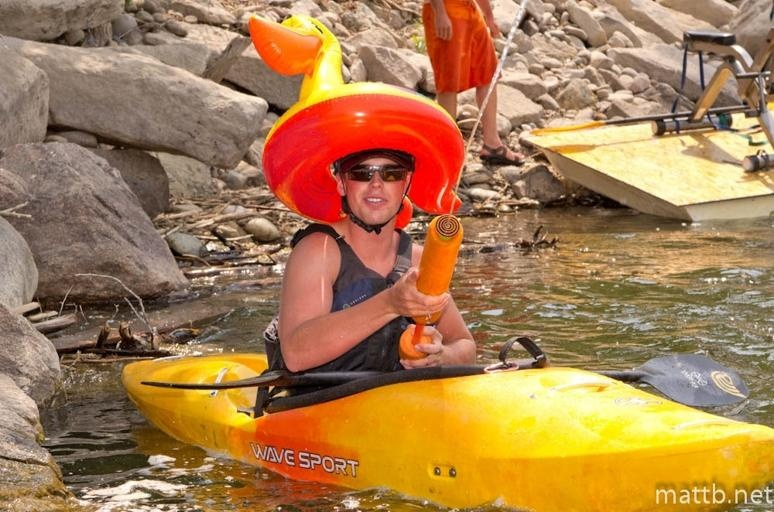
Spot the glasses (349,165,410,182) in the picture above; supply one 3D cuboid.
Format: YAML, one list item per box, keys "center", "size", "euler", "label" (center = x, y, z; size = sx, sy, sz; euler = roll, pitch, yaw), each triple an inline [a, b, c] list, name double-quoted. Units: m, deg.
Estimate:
- center: [-0.055, -0.477, 6.465]
  size: [0.348, 0.098, 0.069]
  euler: [-2, 4, -1]
  label: "glasses"

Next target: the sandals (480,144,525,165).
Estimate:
- center: [1.276, -1.129, 12.576]
  size: [0.523, 0.154, 0.214]
  euler: [0, 18, -7]
  label: "sandals"
